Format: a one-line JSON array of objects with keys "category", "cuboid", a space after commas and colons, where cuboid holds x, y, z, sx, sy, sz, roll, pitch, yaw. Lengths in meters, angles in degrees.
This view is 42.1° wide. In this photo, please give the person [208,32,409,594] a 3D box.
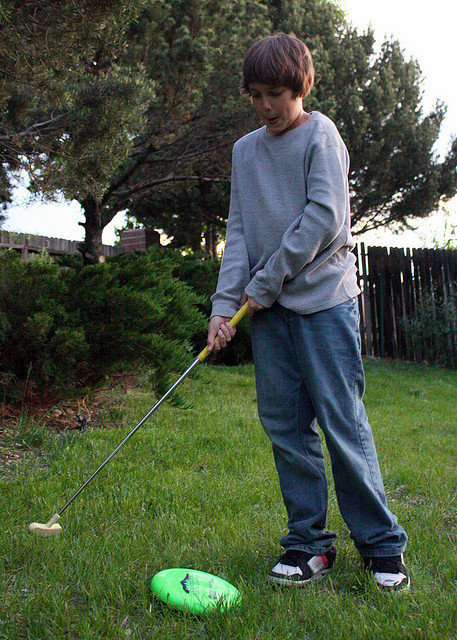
[{"category": "person", "cuboid": [0.220, -0.035, 1.825, 0.640, 1.621, 0.384, 0, -1, 19]}]

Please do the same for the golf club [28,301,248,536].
[{"category": "golf club", "cuboid": [-0.546, 0.498, 3.249, 0.177, 1.150, 0.085, 46, -11, -26]}]

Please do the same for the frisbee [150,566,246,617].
[{"category": "frisbee", "cuboid": [-0.088, 0.728, 1.607, 0.148, 0.042, 0.120, 15, 16, 1]}]
